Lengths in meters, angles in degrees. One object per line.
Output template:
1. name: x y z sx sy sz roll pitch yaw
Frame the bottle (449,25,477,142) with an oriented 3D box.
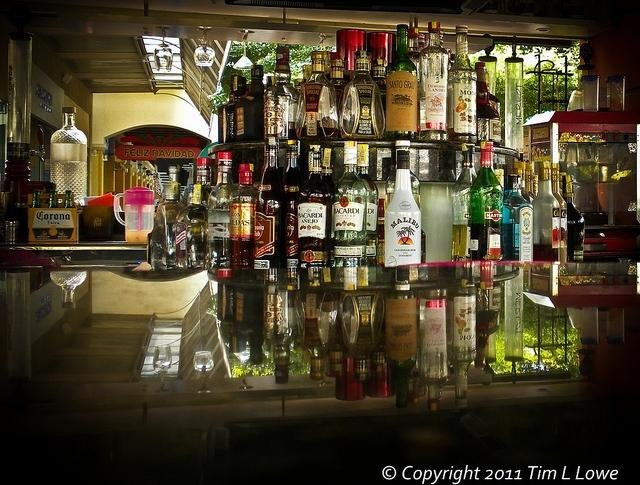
1. bottle: 0.359 -0.406 1.562 0.076 0.288 0.081 0 4 0

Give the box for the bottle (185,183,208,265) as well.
1. bottle: -0.284 -0.039 1.415 0.051 0.188 0.170 0 5 -11

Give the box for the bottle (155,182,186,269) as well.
1. bottle: -0.364 -0.048 1.471 0.076 0.198 0.182 -1 5 -15

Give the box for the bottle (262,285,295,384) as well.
1. bottle: -0.040 0.084 0.590 0.031 0.122 0.031 0 -10 0

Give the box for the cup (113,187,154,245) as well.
1. cup: -0.582 -0.086 1.972 0.098 0.180 0.257 -1 5 -13

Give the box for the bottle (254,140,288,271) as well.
1. bottle: -0.115 -0.093 1.409 0.063 0.294 0.201 0 5 -2

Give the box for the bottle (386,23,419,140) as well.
1. bottle: 0.201 -0.392 1.516 0.080 0.279 0.160 1 4 9

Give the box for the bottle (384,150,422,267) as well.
1. bottle: 0.170 -0.076 1.267 0.073 0.243 0.150 1 5 7

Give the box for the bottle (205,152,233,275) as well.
1. bottle: -0.238 -0.082 1.469 0.059 0.263 0.063 0 4 0

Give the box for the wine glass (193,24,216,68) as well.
1. wine glass: -0.841 -1.442 4.521 0.161 0.269 0.170 4 22 -4

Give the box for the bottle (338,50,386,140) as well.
1. bottle: 0.103 -0.359 1.516 0.113 0.206 0.089 1 4 3

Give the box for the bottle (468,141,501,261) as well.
1. bottle: 0.409 -0.105 1.528 0.078 0.290 0.110 1 4 14

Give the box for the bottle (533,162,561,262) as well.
1. bottle: 0.625 -0.088 1.701 0.075 0.269 0.137 2 5 19

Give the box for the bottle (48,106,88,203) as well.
1. bottle: -1.063 -0.380 2.617 0.140 0.417 0.382 -1 5 -22

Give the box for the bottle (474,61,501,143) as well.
1. bottle: 0.482 -0.401 1.762 0.059 0.227 0.247 2 5 27

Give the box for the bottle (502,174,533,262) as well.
1. bottle: 0.505 -0.065 1.581 0.073 0.217 0.081 0 4 0

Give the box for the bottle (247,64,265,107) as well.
1. bottle: -0.171 -0.423 1.660 0.039 0.118 0.106 0 5 -6

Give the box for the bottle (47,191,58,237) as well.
1. bottle: -0.872 -0.100 2.015 0.027 0.137 0.081 -1 5 -23

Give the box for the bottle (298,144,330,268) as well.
1. bottle: -0.014 -0.084 1.388 0.071 0.268 0.041 0 4 -2

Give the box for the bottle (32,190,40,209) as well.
1. bottle: -0.925 -0.143 2.015 0.025 0.052 0.065 -2 5 -25

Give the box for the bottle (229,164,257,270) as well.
1. bottle: -0.165 -0.057 1.328 0.056 0.223 0.041 0 4 -8

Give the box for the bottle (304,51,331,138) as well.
1. bottle: -0.007 -0.364 1.559 0.073 0.194 0.123 0 5 -2
